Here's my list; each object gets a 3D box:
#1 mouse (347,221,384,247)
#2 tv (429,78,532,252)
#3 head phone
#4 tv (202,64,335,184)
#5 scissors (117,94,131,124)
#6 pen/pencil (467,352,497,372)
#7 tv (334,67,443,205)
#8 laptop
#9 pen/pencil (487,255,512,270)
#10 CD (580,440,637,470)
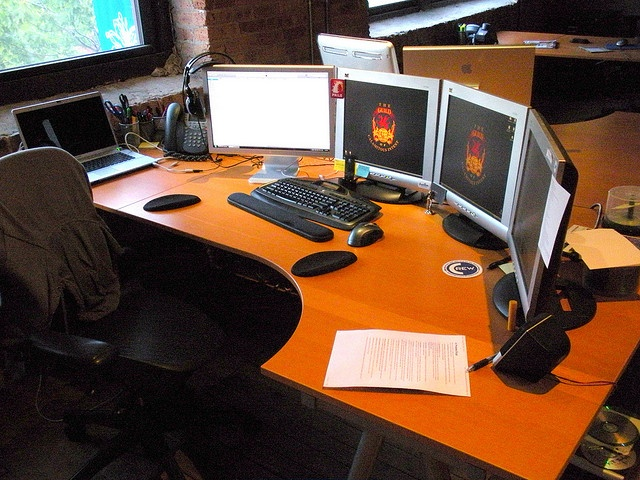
[{"bbox_3d":[0.173,-0.020,1.832,0.075,0.052,0.129,33,40,31],"label":"mouse"},{"bbox_3d":[0.567,-0.279,1.775,0.087,0.528,0.429,-9,31,-26],"label":"tv"},{"bbox_3d":[-0.548,-0.780,2.496,0.298,0.325,0.110,-16,31,-23],"label":"head phone"},{"bbox_3d":[-0.236,-0.563,2.318,0.666,0.456,0.058,4,25,13],"label":"tv"},{"bbox_3d":[-1.049,-0.702,2.615,0.054,0.179,0.032,2,32,-6],"label":"scissors"},{"bbox_3d":[0.450,0.340,1.349,0.115,0.015,0.015,-16,28,-34],"label":"pen/pencil"},{"bbox_3d":[0.300,-0.440,2.066,0.513,0.473,0.197,22,40,29],"label":"tv"},{"bbox_3d":[-1.224,-0.531,2.402,0.397,0.470,0.743,15,26,24],"label":"laptop"},{"bbox_3d":[0.629,0.080,1.704,0.096,0.016,0.024,-22,72,-31],"label":"pen/pencil"},{"bbox_3d":[0.881,0.661,1.484,0.157,0.037,0.073,5,29,14],"label":"CD"}]
